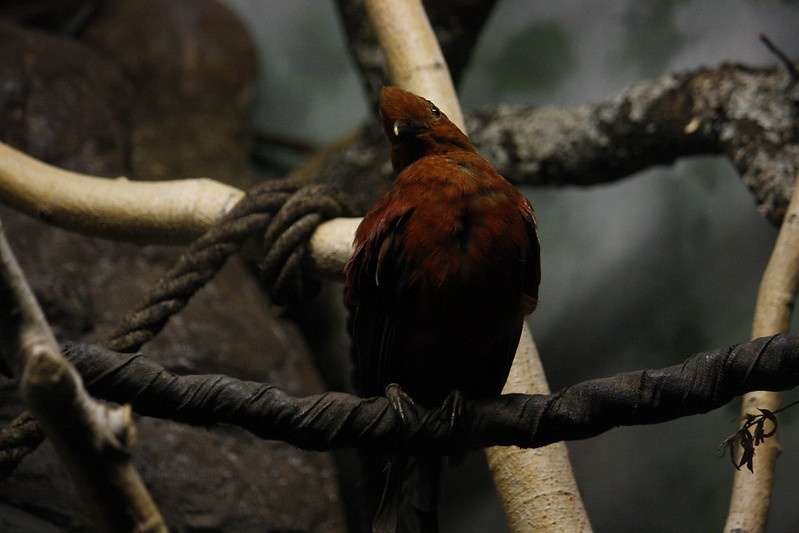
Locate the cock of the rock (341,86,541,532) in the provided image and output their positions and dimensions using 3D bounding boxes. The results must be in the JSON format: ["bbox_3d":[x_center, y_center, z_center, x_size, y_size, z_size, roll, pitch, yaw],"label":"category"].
[{"bbox_3d":[0.163,-0.032,5.570,0.658,1.006,0.513,10,25,14],"label":"cock of the rock"}]
